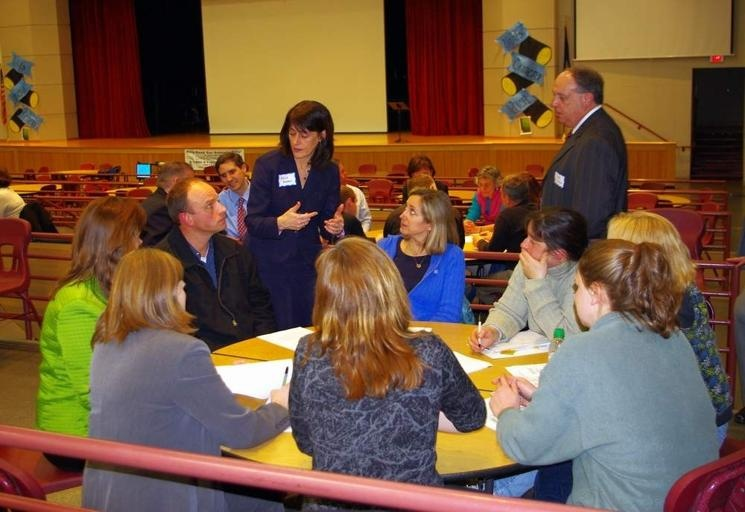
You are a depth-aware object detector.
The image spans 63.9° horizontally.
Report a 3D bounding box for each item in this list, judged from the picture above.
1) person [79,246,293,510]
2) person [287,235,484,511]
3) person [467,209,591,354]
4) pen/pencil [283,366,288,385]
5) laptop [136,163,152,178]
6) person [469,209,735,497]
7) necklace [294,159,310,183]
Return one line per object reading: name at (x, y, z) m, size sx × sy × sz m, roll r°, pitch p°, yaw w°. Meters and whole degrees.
person at (-0.724, 0.538, 2.235) m, size 0.776 × 1.107 × 0.352 m, roll -4°, pitch 10°, yaw -11°
person at (0.061, 0.366, 1.932) m, size 0.642 × 0.832 × 0.306 m, roll -6°, pitch 10°, yaw -19°
person at (0.880, 0.040, 3.420) m, size 0.736 × 0.890 × 0.604 m, roll -3°, pitch 19°, yaw -6°
pen/pencil at (-0.381, 0.533, 2.637) m, size 0.016 × 0.090 × 0.010 m, roll 13°, pitch 0°, yaw -14°
laptop at (-4.193, -1.565, 10.983) m, size 0.298 × 0.341 × 0.173 m, roll -1°, pitch 5°, yaw -26°
person at (1.078, 0.366, 3.496) m, size 1.216 × 1.968 × 1.191 m, roll 1°, pitch 4°, yaw 0°
necklace at (-0.434, -0.538, 3.728) m, size 0.092 × 0.113 × 0.130 m, roll 0°, pitch 6°, yaw -7°
